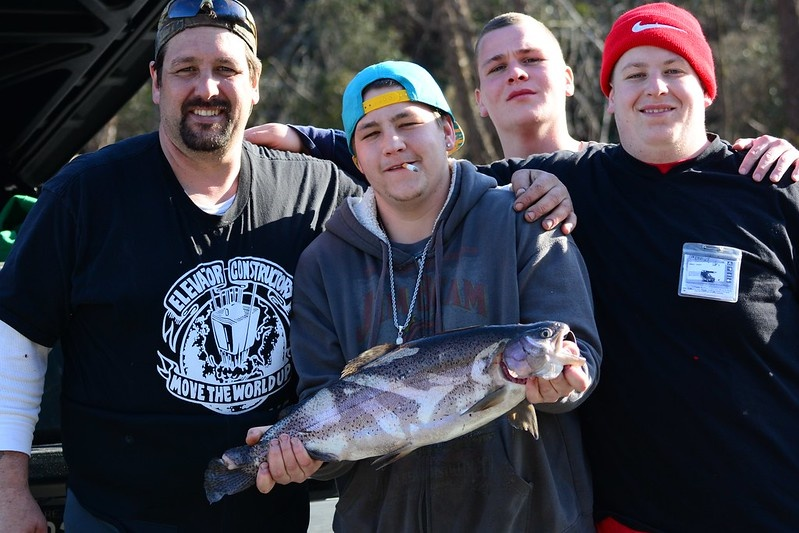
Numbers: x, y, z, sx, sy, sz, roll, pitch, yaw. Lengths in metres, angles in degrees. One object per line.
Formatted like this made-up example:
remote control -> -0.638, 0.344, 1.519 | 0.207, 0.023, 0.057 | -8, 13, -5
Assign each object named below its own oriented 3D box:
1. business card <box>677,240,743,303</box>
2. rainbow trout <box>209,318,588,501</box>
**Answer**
business card -> 1.736, 0.041, 5.002 | 0.338, 0.331, 0.146 | -1, 8, 18
rainbow trout -> 0.014, 0.732, 4.679 | 1.873, 0.814, 0.202 | -3, 8, 7
